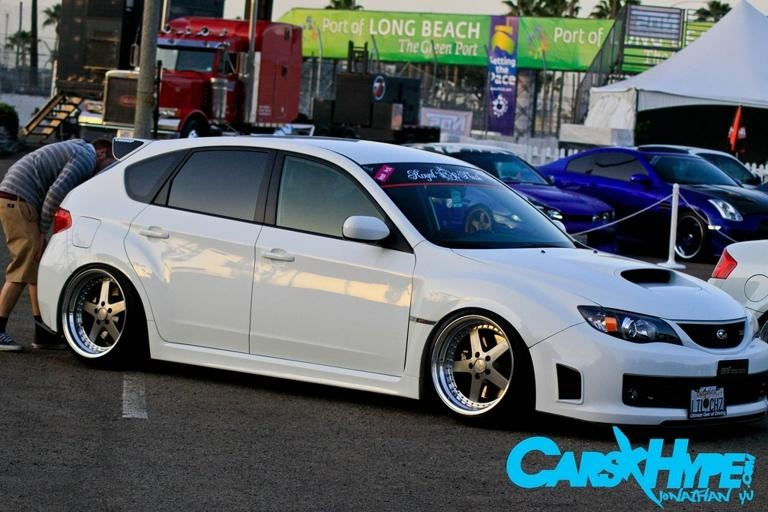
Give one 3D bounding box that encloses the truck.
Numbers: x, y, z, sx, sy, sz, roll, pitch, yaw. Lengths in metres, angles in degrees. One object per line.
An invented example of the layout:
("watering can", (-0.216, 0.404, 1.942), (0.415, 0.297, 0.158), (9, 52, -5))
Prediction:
("truck", (-2.576, -5.371, 29.271), (3.297, 3.829, 10.729), (3, 4, 38))
